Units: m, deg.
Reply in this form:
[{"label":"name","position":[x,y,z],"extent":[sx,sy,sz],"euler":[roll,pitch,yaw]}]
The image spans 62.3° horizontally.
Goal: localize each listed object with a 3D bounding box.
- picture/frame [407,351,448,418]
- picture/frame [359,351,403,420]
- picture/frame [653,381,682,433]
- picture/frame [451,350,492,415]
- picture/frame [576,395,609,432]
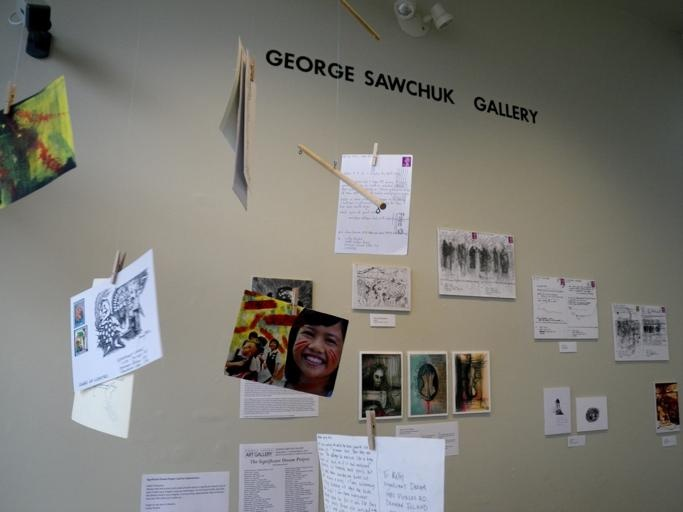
[{"label":"picture/frame","position":[0.577,0.858,3.779],"extent":[0.266,0.440,0.014],"euler":[-6,-32,17]},{"label":"picture/frame","position":[0.259,0.847,3.664],"extent":[0.291,0.474,0.018],"euler":[-2,-37,6]},{"label":"picture/frame","position":[2.528,1.179,4.388],"extent":[0.249,0.382,0.036],"euler":[7,-10,-25]},{"label":"picture/frame","position":[0.860,0.870,3.882],"extent":[0.295,0.497,0.016],"euler":[-2,19,7]},{"label":"picture/frame","position":[1.840,1.161,4.156],"extent":[0.234,0.270,0.061],"euler":[1,-4,-19]}]
